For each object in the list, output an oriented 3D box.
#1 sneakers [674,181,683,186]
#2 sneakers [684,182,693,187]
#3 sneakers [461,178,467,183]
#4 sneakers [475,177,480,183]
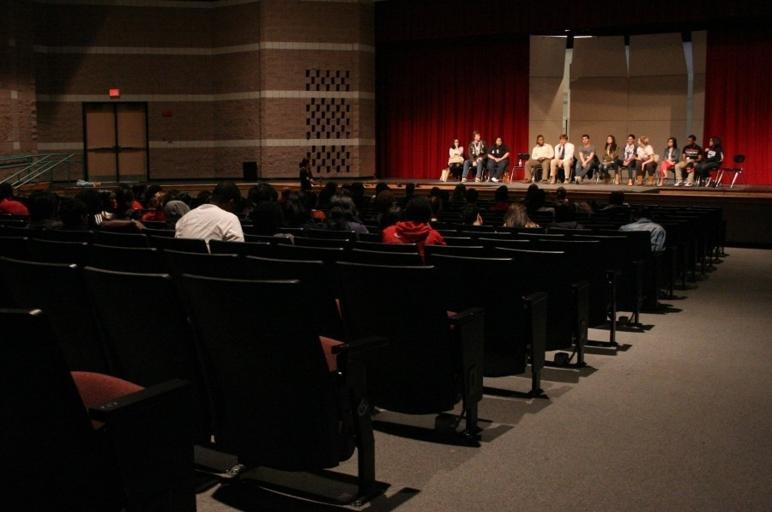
[{"bbox_3d":[7.728,-1.908,16.195,0.148,0.171,0.438,2,9,17],"label":"sneakers"},{"bbox_3d":[7.900,-1.863,16.031,0.253,0.125,0.365,4,7,38],"label":"sneakers"},{"bbox_3d":[2.352,-2.296,18.495,0.118,0.155,0.399,2,11,20],"label":"sneakers"},{"bbox_3d":[2.691,-2.242,18.098,0.103,0.121,0.311,-2,-2,16],"label":"sneakers"}]
